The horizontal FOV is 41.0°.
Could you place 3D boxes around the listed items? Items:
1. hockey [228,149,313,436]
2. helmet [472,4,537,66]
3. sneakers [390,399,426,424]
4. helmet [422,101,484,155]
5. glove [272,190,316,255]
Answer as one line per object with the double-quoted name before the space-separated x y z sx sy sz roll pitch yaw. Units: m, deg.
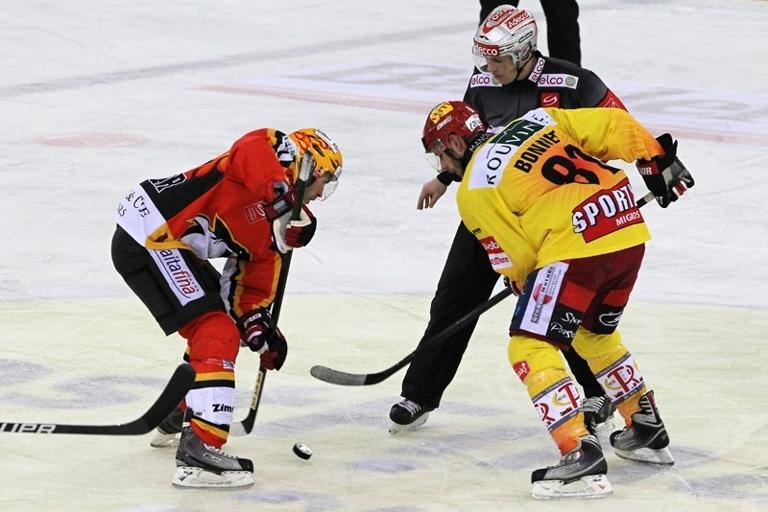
"hockey" -0.533 0.173 5.322 0.119 1.511 0.341 13 -13 -31
"helmet" 0.669 -1.193 5.618 0.334 0.364 0.256 6 15 4
"sneakers" 0.132 0.851 5.556 0.142 0.127 0.174 10 14 22
"helmet" 0.332 -0.659 5.279 0.347 0.244 0.240 -18 0 23
"glove" -0.444 -0.161 4.948 0.205 0.305 0.144 0 16 -20
